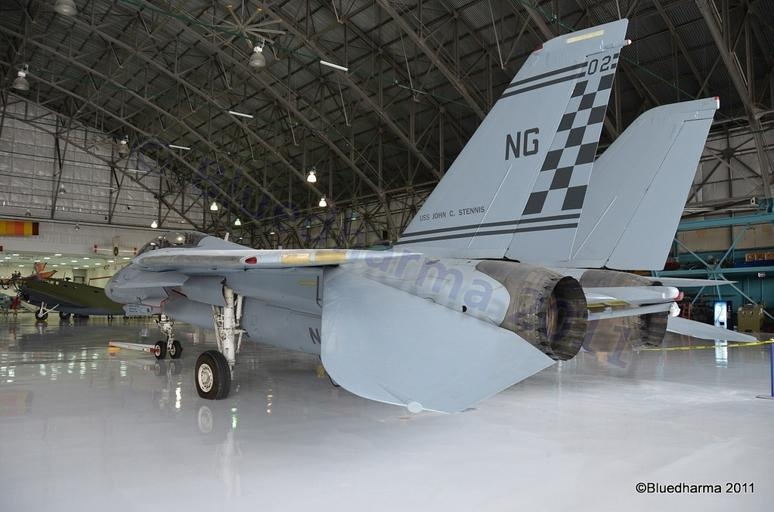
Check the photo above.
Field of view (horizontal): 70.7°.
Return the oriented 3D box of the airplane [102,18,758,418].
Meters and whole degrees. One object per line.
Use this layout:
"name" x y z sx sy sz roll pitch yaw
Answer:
"airplane" -0.568 -0.197 11.816 8.119 4.026 9.911 5 -1 -39
